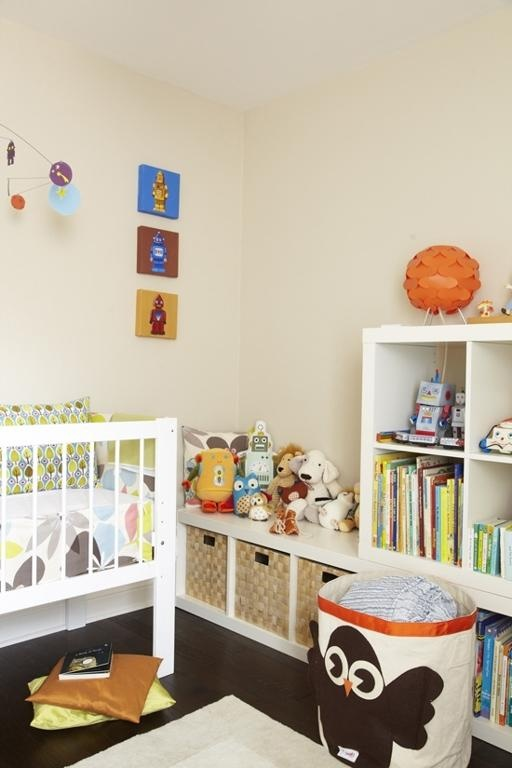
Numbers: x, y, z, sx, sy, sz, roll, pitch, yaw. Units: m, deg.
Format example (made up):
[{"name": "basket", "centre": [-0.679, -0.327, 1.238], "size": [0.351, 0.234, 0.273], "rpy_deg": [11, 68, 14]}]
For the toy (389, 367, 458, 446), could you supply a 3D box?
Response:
[{"name": "toy", "centre": [0.522, 0.077, 1.888], "size": [0.191, 0.251, 0.184], "rpy_deg": [2, -1, -42]}]

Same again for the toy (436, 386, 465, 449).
[{"name": "toy", "centre": [0.586, 0.100, 1.885], "size": [0.068, 0.180, 0.354], "rpy_deg": [1, -3, 18]}]

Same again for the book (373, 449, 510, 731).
[{"name": "book", "centre": [0.548, 0.537, 1.779], "size": [0.172, 0.655, 0.441], "rpy_deg": [4, -4, -40]}]
